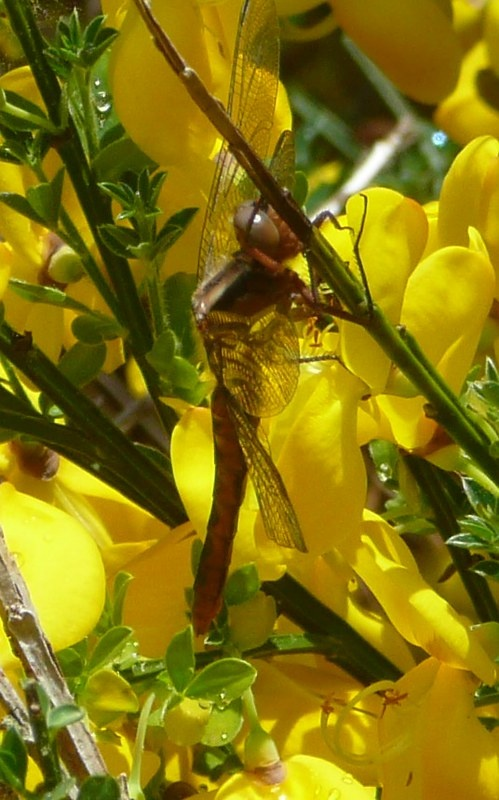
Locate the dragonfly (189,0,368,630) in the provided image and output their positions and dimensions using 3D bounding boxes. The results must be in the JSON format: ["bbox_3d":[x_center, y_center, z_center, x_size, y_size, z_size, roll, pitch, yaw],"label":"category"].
[{"bbox_3d":[0.002,-0.038,0.368,0.061,0.111,0.240,9,-71,24],"label":"dragonfly"}]
